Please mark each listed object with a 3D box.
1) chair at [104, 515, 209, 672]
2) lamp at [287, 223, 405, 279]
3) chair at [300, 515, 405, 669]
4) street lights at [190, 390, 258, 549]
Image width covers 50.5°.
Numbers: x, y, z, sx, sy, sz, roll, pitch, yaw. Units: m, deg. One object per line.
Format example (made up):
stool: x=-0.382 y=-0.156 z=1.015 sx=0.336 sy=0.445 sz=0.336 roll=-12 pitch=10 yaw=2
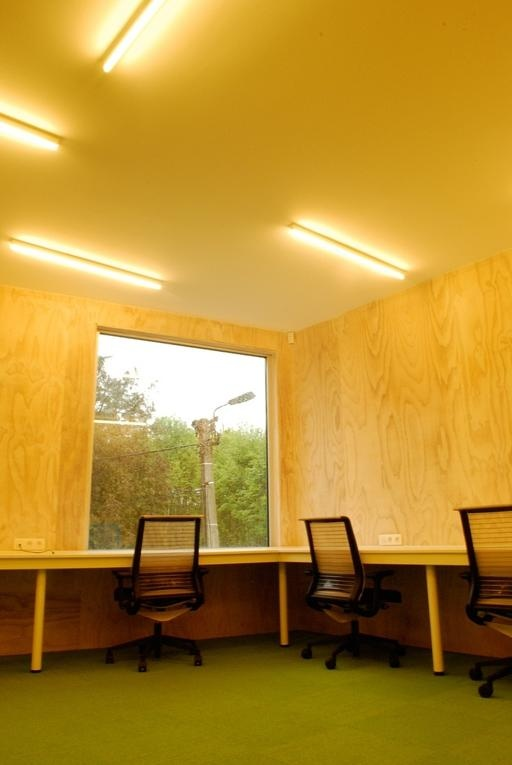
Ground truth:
chair: x=-0.615 y=1.351 z=3.566 sx=0.560 sy=0.937 sz=0.557 roll=7 pitch=-11 yaw=-18
lamp: x=0.666 y=-0.920 z=3.878 sx=1.256 sy=0.065 sz=0.189 roll=11 pitch=-14 yaw=-41
chair: x=0.653 y=1.399 z=3.697 sx=0.566 sy=0.973 sz=0.607 roll=7 pitch=-15 yaw=-34
street lights: x=-0.357 y=0.812 z=5.278 sx=0.213 sy=1.484 sz=0.588 roll=-6 pitch=-11 yaw=41
